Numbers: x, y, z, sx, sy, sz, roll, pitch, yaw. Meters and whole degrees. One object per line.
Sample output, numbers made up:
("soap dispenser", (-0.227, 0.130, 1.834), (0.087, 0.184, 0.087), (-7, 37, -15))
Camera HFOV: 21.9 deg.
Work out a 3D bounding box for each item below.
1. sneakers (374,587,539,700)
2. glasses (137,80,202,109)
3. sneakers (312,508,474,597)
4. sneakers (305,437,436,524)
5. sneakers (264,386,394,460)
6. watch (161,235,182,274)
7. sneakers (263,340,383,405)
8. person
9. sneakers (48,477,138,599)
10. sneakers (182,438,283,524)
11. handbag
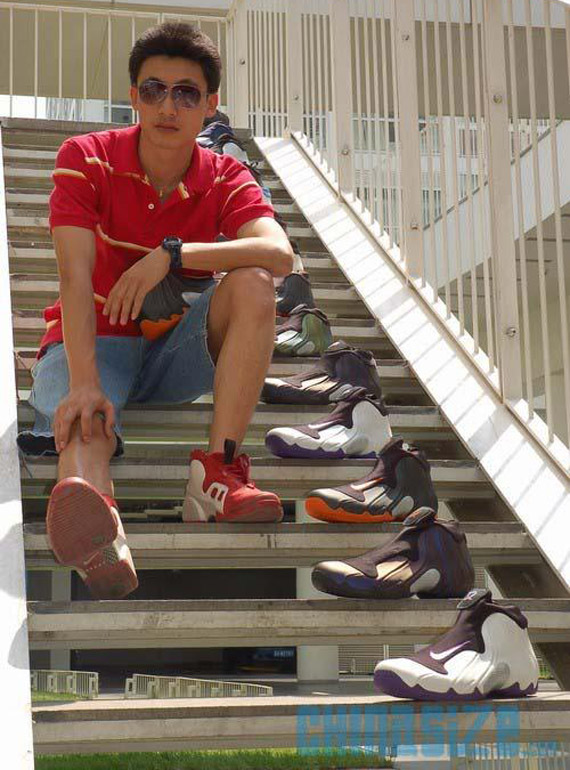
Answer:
("sneakers", (0.268, 0.399, 2.261), (0.279, 0.178, 0.131), (6, -18, -31))
("glasses", (-0.212, -0.538, 2.707), (0.110, 0.052, 0.026), (-2, 1, -4))
("sneakers", (0.185, 0.282, 2.416), (0.287, 0.147, 0.097), (1, -2, -20))
("sneakers", (0.114, 0.174, 2.655), (0.278, 0.195, 0.110), (6, -11, -8))
("sneakers", (0.093, 0.071, 2.890), (0.308, 0.154, 0.098), (1, 2, -38))
("watch", (-0.215, -0.241, 2.735), (0.039, 0.061, 0.056), (1, 20, -7))
("sneakers", (0.083, -0.033, 3.104), (0.303, 0.141, 0.108), (0, -7, 1))
("person", (-0.237, -0.171, 2.681), (0.506, 1.000, 0.869), (-2, 1, -1))
("sneakers", (-0.301, 0.236, 2.322), (0.105, 0.222, 0.101), (-13, 18, 9))
("sneakers", (-0.095, 0.169, 2.551), (0.167, 0.143, 0.141), (-2, 1, -6))
("handbag", (-0.223, -0.159, 2.829), (0.203, 0.073, 0.087), (-38, -7, 3))
